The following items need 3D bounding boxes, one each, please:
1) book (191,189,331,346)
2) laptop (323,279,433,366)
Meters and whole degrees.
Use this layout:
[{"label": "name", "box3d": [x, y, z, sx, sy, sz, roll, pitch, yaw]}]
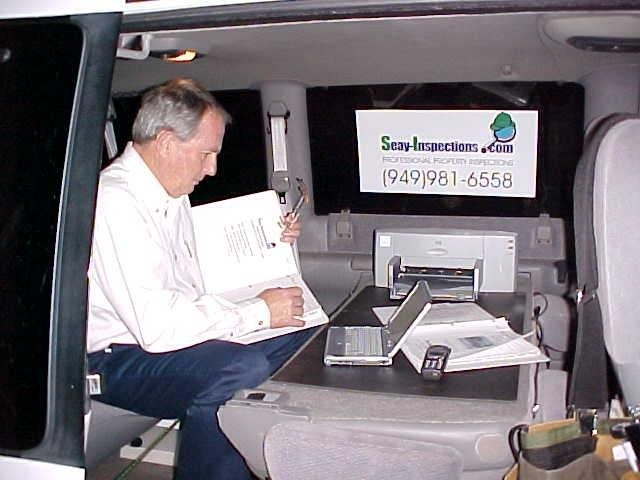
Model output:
[{"label": "book", "box3d": [-0.274, 0.106, 2.184, 0.445, 0.656, 0.130, -17, -6, -18]}, {"label": "laptop", "box3d": [0.172, 0.226, 1.709, 0.296, 0.181, 0.291, 1, 16, 5]}]
